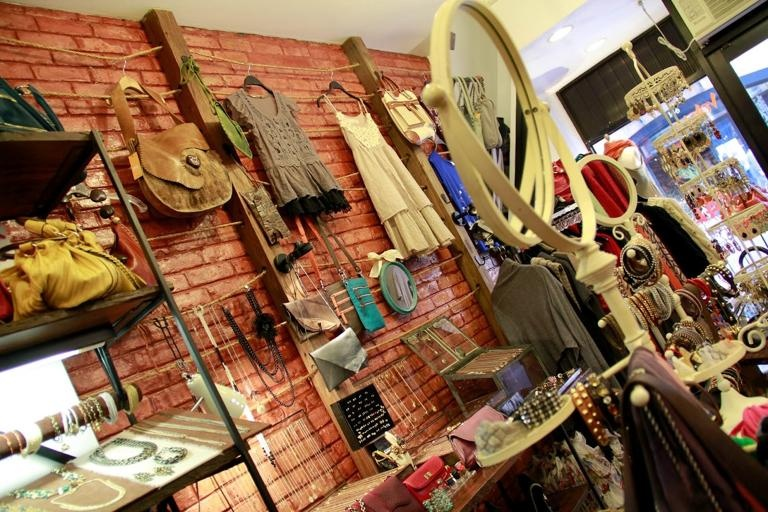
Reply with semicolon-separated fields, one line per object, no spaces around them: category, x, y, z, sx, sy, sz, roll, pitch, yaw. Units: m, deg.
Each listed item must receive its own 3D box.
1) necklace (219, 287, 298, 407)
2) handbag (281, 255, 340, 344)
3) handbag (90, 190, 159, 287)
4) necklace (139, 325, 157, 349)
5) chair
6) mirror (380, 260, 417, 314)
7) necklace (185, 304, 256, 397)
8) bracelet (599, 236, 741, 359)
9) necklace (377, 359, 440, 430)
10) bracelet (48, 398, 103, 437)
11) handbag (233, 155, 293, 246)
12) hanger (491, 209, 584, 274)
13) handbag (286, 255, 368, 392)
necklace;-0.720;0.526;2.644;0.189;0.529;0.556;-32;12;-19
handbag;-0.487;0.278;2.801;0.326;0.401;0.126;-22;-2;-39
handbag;-1.164;-0.082;2.075;0.110;0.411;0.310;-28;7;0
necklace;-1.210;0.413;2.394;0.035;0.117;0.066;-8;7;40
chair;0.568;0.675;3.123;0.599;0.534;0.833;-16;11;-42
mirror;0.094;0.232;3.334;0.055;0.349;0.358;-23;3;32
necklace;-0.884;0.546;2.569;0.061;0.740;0.182;-39;-13;18
bracelet;1.431;0.106;2.408;0.607;0.759;0.396;4;30;34
necklace;0.151;0.931;3.132;0.036;0.394;0.415;-33;1;41
bracelet;-1.127;0.578;1.707;0.126;0.058;0.147;-24;-3;-19
handbag;-0.768;-0.321;2.977;0.211;0.727;0.190;-29;-8;-30
hanger;0.794;-0.061;2.336;0.549;0.180;0.052;-18;-29;10
handbag;-0.371;0.461;2.753;0.195;0.560;0.455;-30;0;44
